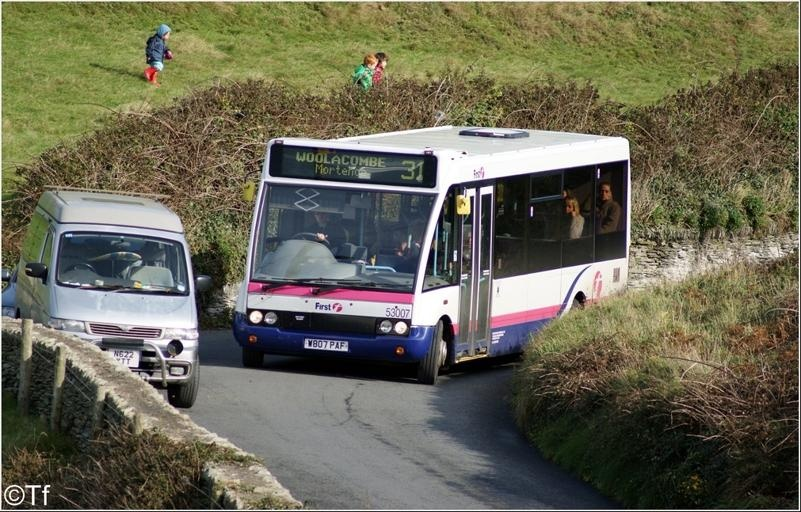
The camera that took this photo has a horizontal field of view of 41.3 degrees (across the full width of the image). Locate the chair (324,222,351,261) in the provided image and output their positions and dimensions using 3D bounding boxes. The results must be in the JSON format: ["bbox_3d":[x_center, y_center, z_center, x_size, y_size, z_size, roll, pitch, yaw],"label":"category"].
[{"bbox_3d":[-1.334,-0.335,22.731,0.537,0.749,0.290,3,11,14],"label":"chair"}]

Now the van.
[{"bbox_3d":[-5.942,0.875,21.835,4.393,3.736,2.424,7,13,27],"label":"van"}]

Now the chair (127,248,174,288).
[{"bbox_3d":[-5.119,0.291,21.961,0.775,0.837,0.814,6,-1,0],"label":"chair"}]

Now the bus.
[{"bbox_3d":[0.981,-0.147,24.430,9.594,5.122,2.985,-8,14,-38],"label":"bus"}]
